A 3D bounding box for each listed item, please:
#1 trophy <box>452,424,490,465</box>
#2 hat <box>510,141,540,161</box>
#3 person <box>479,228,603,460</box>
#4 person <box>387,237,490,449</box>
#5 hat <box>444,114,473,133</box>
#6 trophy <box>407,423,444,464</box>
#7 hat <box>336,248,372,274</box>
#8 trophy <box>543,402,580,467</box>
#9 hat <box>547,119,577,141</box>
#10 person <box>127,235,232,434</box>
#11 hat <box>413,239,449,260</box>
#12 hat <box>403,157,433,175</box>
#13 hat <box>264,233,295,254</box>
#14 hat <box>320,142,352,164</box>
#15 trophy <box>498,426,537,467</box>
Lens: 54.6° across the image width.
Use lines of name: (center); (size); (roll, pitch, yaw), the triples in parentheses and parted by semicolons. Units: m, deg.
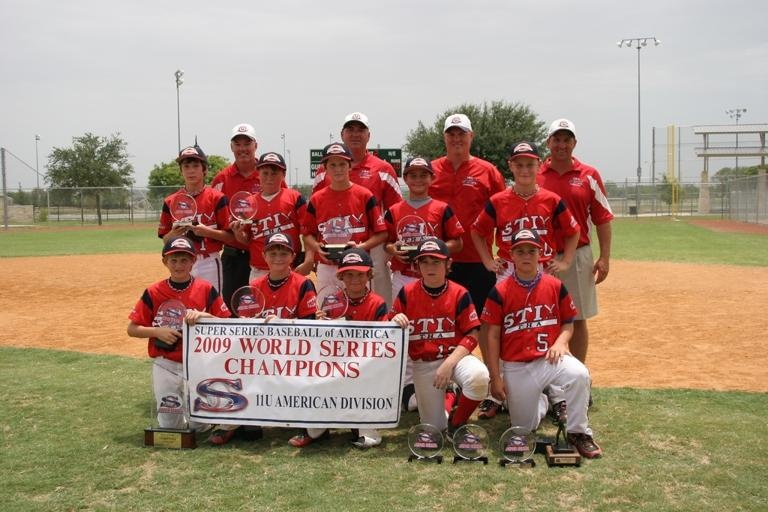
trophy: (0.939, 2.002, 8.003); (0.386, 0.355, 0.319); (-1, 9, 5)
hat: (1.700, -1.256, 8.980); (0.341, 0.212, 0.287); (0, 9, 9)
person: (1.785, 0.905, 8.531); (1.094, 2.382, 1.220); (0, 1, 2)
person: (0.611, 0.889, 8.660); (0.991, 2.162, 1.106); (0, 1, 0)
hat: (0.999, -1.745, 9.805); (0.324, 0.254, 0.455); (-1, -16, 13)
trophy: (0.449, 2.005, 8.014); (0.369, 0.351, 0.293); (-1, 9, 5)
hat: (-0.336, 0.059, 8.573); (0.376, 0.278, 0.265); (-2, 9, 0)
trophy: (1.938, 1.916, 8.025); (0.373, 0.483, 0.626); (0, 9, 12)
hat: (2.223, -1.572, 9.268); (0.291, 0.206, 0.456); (-1, 9, 5)
person: (-2.381, 1.017, 8.659); (1.257, 2.419, 0.835); (-2, 1, -4)
hat: (0.553, -0.073, 8.480); (0.372, 0.227, 0.318); (0, 9, 8)
hat: (0.429, -1.117, 9.295); (0.367, 0.211, 0.320); (-1, 9, 4)
hat: (-1.238, -0.142, 8.771); (0.330, 0.228, 0.237); (-3, 9, -9)
hat: (-0.598, -1.274, 9.308); (0.378, 0.237, 0.299); (-1, 9, 2)
trophy: (1.440, 2.021, 7.981); (0.386, 0.321, 0.409); (0, 9, 8)
